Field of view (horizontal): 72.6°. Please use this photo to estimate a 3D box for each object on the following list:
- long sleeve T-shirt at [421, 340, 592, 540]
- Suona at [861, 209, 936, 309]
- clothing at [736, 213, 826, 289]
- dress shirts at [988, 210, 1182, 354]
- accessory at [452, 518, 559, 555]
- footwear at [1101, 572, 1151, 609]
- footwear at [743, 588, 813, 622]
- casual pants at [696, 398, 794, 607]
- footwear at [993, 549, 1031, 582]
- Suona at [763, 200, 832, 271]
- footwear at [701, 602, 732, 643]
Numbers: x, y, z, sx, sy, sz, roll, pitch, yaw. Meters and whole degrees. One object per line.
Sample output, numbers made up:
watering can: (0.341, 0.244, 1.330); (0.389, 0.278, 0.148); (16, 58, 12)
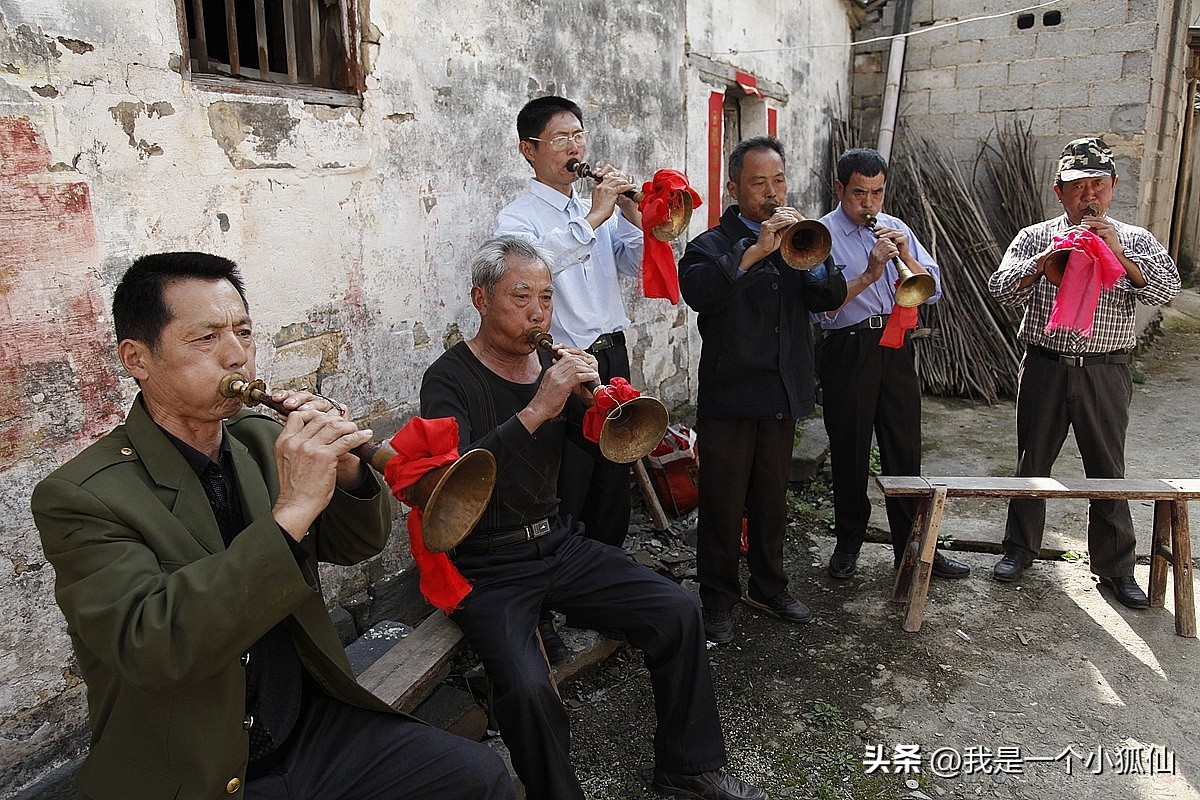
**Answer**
long sleeve T-shirt: (-0.363, 0.236, 3.795); (0.881, 0.973, 0.743); (-7, 13, -31)
Suona: (1.838, -0.840, 5.092); (0.248, 0.247, 0.698); (6, 30, -16)
clothing: (1.102, -0.898, 4.708); (0.290, 0.240, 0.537); (5, 10, -5)
dress shirts: (3.090, -0.811, 5.258); (1.088, 0.944, 0.609); (8, -2, 13)
accessory: (-0.403, 0.612, 3.629); (0.256, 0.065, 0.209); (-10, -1, 1)
footwear: (3.219, 1.155, 5.012); (0.111, 0.121, 0.291); (-10, 17, 0)
footwear: (1.113, 1.269, 5.022); (0.420, 0.160, 0.148); (10, 10, 27)
casual pants: (0.906, 0.613, 4.840); (0.495, 0.341, 1.388); (8, 45, 9)
footwear: (2.648, 1.076, 5.271); (0.383, 0.151, 0.124); (2, 0, -43)
Suona: (1.070, -0.975, 4.664); (0.305, 0.256, 0.527); (0, 31, -13)
footwear: (0.704, 1.317, 4.817); (0.119, 0.197, 0.301); (-1, 8, 17)
